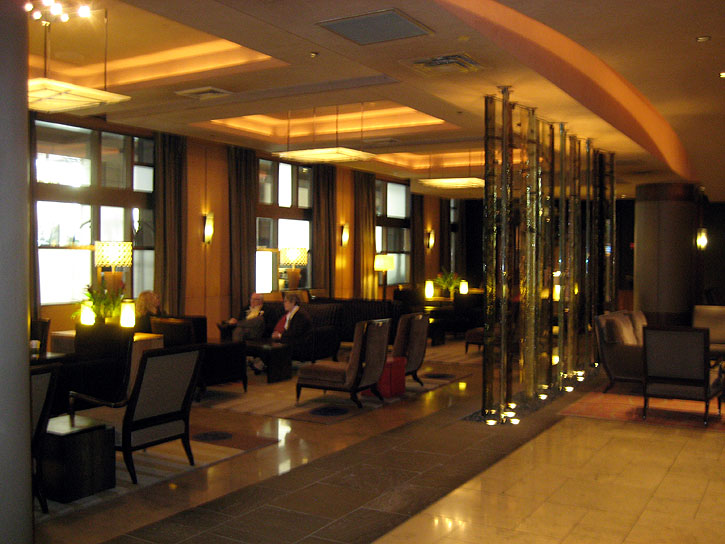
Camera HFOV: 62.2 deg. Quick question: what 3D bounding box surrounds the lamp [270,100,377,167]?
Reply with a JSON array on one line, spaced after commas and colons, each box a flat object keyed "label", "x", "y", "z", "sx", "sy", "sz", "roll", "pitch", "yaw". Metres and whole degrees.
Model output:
[{"label": "lamp", "x": -0.508, "y": -2.605, "z": 11.447, "sx": 1.072, "sy": 0.488, "sz": 1.461, "roll": 0, "pitch": -1, "yaw": 39}]

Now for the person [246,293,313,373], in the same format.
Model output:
[{"label": "person", "x": -1.466, "y": 1.050, "z": 10.202, "sx": 0.900, "sy": 1.319, "sz": 1.171, "roll": 9, "pitch": 18, "yaw": 30}]

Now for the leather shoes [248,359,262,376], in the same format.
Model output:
[{"label": "leather shoes", "x": -1.818, "y": 1.565, "z": 10.103, "sx": 0.286, "sy": 0.239, "sz": 0.196, "roll": 3, "pitch": -2, "yaw": 19}]

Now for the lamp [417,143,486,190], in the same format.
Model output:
[{"label": "lamp", "x": 2.390, "y": -2.694, "z": 15.415, "sx": 1.194, "sy": 0.669, "sz": 1.250, "roll": 4, "pitch": 5, "yaw": 42}]

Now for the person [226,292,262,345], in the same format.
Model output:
[{"label": "person", "x": -1.995, "y": 0.882, "z": 10.348, "sx": 0.572, "sy": 1.046, "sz": 0.645, "roll": -5, "pitch": -8, "yaw": 42}]
